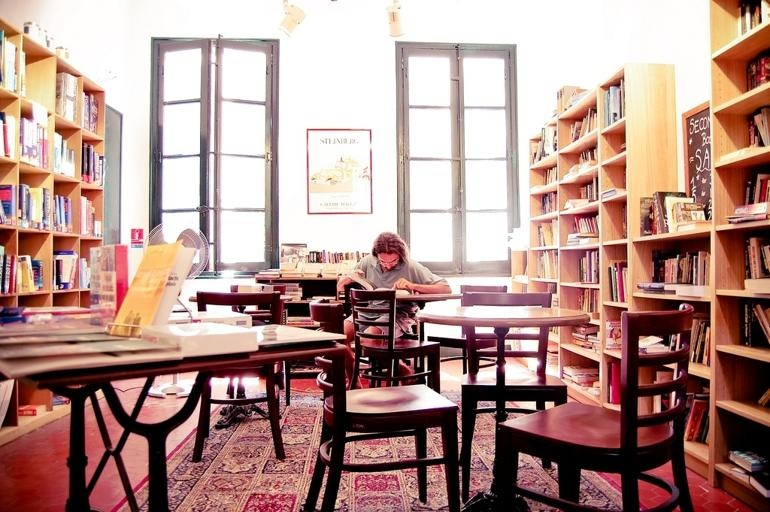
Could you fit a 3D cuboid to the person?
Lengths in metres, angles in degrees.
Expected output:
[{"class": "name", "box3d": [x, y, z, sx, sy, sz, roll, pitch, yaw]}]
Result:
[{"class": "person", "box3d": [0.031, 0.489, 5.178, 1.078, 1.303, 0.795, 3, 3, 7]}]

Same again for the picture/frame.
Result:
[{"class": "picture/frame", "box3d": [-0.587, -1.003, 6.883, 1.116, 1.260, 0.105, -1, 0, -1]}]

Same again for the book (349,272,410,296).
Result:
[{"class": "book", "box3d": [-0.065, 0.233, 4.770, 0.344, 0.105, 0.234, 0, 2, -16]}]

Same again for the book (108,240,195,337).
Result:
[{"class": "book", "box3d": [-1.147, 0.135, 2.648, 0.381, 0.358, 0.374, 7, -5, 29]}]

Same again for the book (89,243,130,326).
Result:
[{"class": "book", "box3d": [-1.316, 0.149, 2.737, 0.093, 0.662, 0.396, -1, 1, -41]}]
